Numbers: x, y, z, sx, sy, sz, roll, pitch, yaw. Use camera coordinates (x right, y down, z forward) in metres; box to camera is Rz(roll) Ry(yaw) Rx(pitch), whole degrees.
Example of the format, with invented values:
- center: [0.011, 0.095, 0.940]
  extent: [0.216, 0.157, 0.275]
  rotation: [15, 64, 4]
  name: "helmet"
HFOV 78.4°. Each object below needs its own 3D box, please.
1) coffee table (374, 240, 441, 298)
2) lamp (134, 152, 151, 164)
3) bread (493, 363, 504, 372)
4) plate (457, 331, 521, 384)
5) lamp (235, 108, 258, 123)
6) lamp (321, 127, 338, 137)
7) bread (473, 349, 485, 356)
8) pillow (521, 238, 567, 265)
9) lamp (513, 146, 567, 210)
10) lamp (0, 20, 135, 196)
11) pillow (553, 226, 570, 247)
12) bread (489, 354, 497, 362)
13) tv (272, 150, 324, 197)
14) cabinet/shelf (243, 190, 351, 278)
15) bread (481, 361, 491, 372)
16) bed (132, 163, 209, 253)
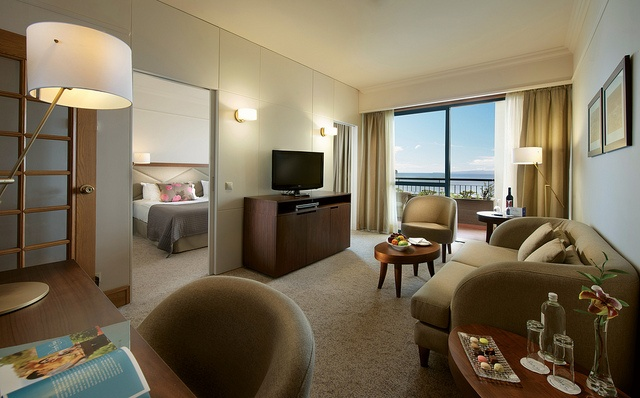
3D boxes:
- center: [0.937, 0.655, 4.326]
  extent: [0.671, 0.424, 0.611]
  rotation: [-3, 4, -33]
  name: "coffee table"
- center: [-3.147, -0.722, 6.926]
  extent: [0.204, 0.145, 0.206]
  rotation: [2, 3, 13]
  name: "lamp"
- center: [1.230, 1.161, 2.694]
  extent: [0.044, 0.031, 0.055]
  rotation: [-11, 12, -3]
  name: "bread"
- center: [1.174, 1.105, 2.784]
  extent: [0.310, 0.057, 0.511]
  rotation: [-2, 20, 16]
  name: "plate"
- center: [-0.940, -1.053, 4.977]
  extent: [0.231, 0.149, 0.174]
  rotation: [3, 4, 29]
  name: "lamp"
- center: [0.134, -1.087, 6.284]
  extent: [0.298, 0.158, 0.169]
  rotation: [-1, 6, -11]
  name: "lamp"
- center: [1.134, 1.102, 2.809]
  extent: [0.047, 0.030, 0.025]
  rotation: [1, -5, -38]
  name: "bread"
- center: [1.921, 0.499, 3.313]
  extent: [0.076, 0.315, 0.320]
  rotation: [26, -27, 7]
  name: "pillow"
- center: [2.952, -0.239, 5.384]
  extent: [0.721, 0.958, 0.450]
  rotation: [-3, 7, -29]
  name: "lamp"
- center: [-1.612, -0.684, 2.606]
  extent: [0.673, 0.907, 0.246]
  rotation: [-1, 6, -8]
  name: "lamp"
- center: [2.304, 0.348, 3.730]
  extent: [0.180, 0.054, 0.179]
  rotation: [17, 12, 24]
  name: "pillow"
- center: [1.217, 1.115, 2.748]
  extent: [0.035, 0.027, 0.038]
  rotation: [-2, -2, 12]
  name: "bread"
- center: [-0.302, -0.362, 5.566]
  extent: [0.927, 0.631, 0.229]
  rotation: [-4, 11, -41]
  name: "tv"
- center: [-0.258, 0.375, 5.536]
  extent: [0.646, 0.973, 1.669]
  rotation: [5, 9, 35]
  name: "cabinet/shelf"
- center: [1.147, 1.156, 2.714]
  extent: [0.051, 0.026, 0.048]
  rotation: [-4, 6, -27]
  name: "bread"
- center: [-2.257, 0.120, 6.557]
  extent: [1.799, 0.962, 1.531]
  rotation: [10, 11, 44]
  name: "bed"
